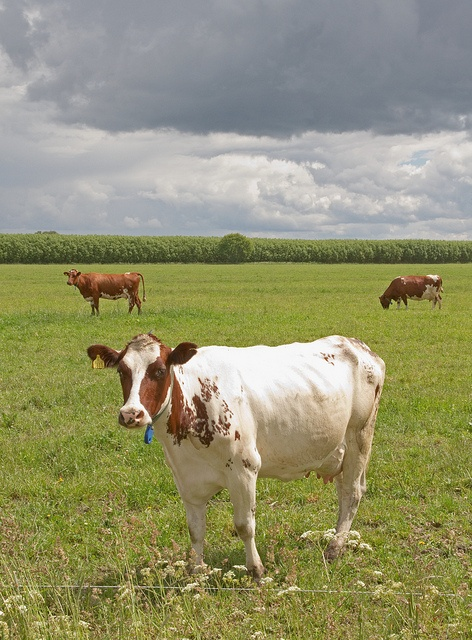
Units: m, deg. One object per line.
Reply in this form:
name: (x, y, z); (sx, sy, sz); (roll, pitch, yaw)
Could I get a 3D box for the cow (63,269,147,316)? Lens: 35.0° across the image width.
cow: (-5.217, -1.107, 30.292); (2.685, 1.539, 1.570); (3, -1, -37)

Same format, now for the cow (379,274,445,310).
cow: (8.251, -1.259, 34.874); (2.433, 1.738, 4.472); (1, -1, 24)

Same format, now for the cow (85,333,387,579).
cow: (0.098, 1.240, 7.315); (3.086, 1.699, 1.057); (3, -1, -42)
